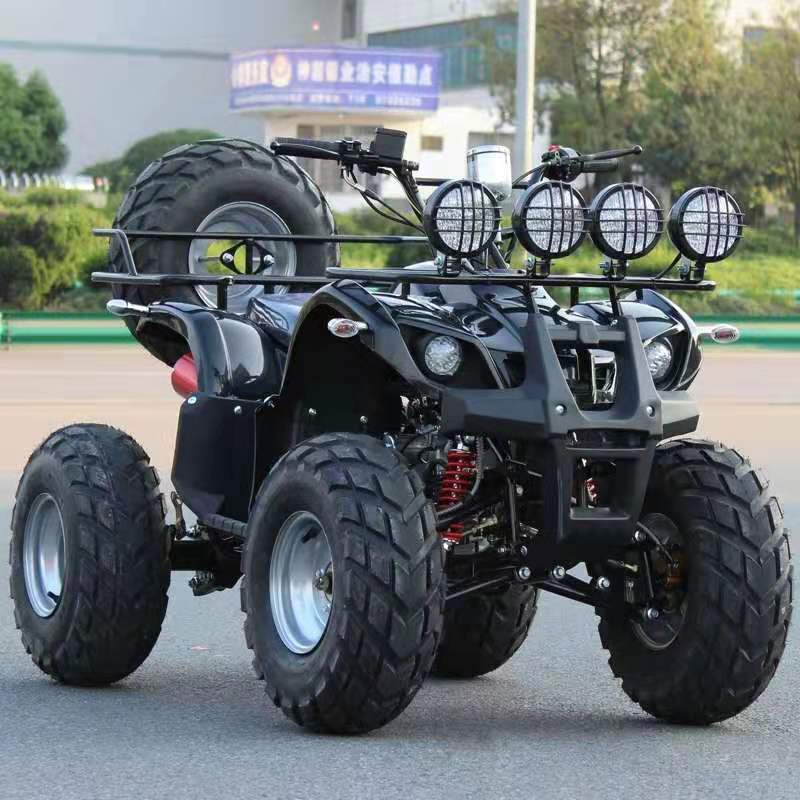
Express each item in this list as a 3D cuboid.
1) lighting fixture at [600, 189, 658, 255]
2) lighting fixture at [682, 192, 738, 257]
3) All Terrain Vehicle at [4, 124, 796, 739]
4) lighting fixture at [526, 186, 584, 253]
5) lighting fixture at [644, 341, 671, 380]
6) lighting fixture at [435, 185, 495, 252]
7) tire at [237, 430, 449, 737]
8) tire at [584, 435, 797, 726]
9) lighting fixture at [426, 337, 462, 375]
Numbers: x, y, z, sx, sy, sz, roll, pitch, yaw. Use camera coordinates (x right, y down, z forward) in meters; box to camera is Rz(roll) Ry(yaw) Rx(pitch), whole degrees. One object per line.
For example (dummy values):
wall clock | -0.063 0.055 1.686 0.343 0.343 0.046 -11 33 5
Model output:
lighting fixture | 0.791 -0.601 4.879 0.226 0.264 0.237 1 11 5
lighting fixture | 1.101 -0.604 4.997 0.211 0.271 0.292 3 11 12
All Terrain Vehicle | -0.171 -0.054 5.905 1.959 2.569 3.400 4 -5 -31
lighting fixture | 0.506 -0.590 4.672 0.179 0.221 0.058 -5 8 -30
lighting fixture | 0.928 -0.139 5.111 0.037 0.095 0.092 6 41 45
lighting fixture | 0.210 -0.593 4.655 0.175 0.196 0.047 -7 8 -31
tire | -0.195 0.611 4.744 0.424 0.944 0.818 -5 12 -29
tire | 1.021 0.667 5.055 0.336 1.177 0.922 1 -3 -26
lighting fixture | 0.144 -0.137 4.645 0.123 0.128 0.043 0 10 -4
